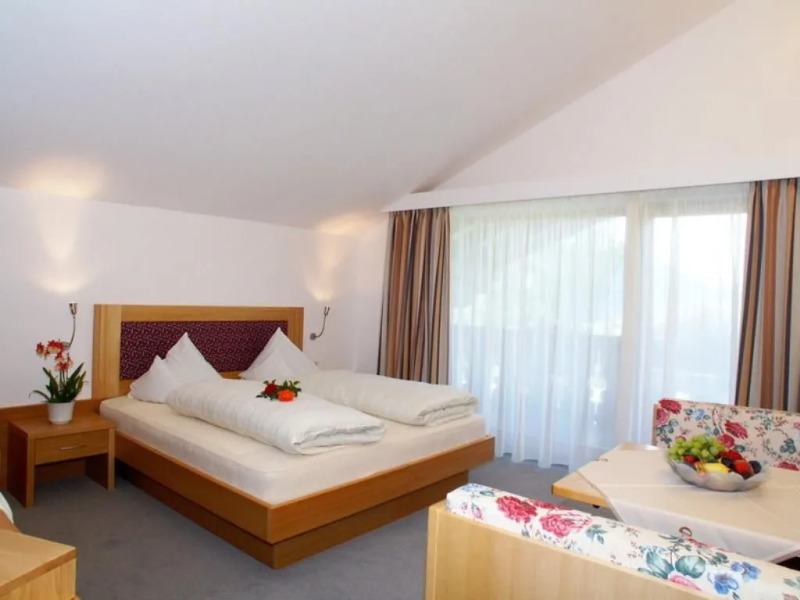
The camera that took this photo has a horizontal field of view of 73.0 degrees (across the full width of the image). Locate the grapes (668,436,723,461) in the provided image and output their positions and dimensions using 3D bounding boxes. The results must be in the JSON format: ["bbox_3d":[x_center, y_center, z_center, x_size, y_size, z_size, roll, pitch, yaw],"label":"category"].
[{"bbox_3d":[1.585,0.788,2.883,0.208,0.102,0.149,4,-8,-28],"label":"grapes"}]

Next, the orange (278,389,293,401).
[{"bbox_3d":[-0.772,0.639,3.651,0.070,0.040,0.071,4,5,28],"label":"orange"}]

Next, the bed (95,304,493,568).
[{"bbox_3d":[-1.094,1.170,4.174,2.156,1.373,2.002,8,8,44],"label":"bed"}]

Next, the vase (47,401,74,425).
[{"bbox_3d":[-2.525,0.844,4.073,0.162,0.145,0.168,-3,-3,30],"label":"vase"}]

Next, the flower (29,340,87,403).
[{"bbox_3d":[-2.659,0.561,4.246,0.362,0.528,0.516,0,6,-31],"label":"flower"}]
